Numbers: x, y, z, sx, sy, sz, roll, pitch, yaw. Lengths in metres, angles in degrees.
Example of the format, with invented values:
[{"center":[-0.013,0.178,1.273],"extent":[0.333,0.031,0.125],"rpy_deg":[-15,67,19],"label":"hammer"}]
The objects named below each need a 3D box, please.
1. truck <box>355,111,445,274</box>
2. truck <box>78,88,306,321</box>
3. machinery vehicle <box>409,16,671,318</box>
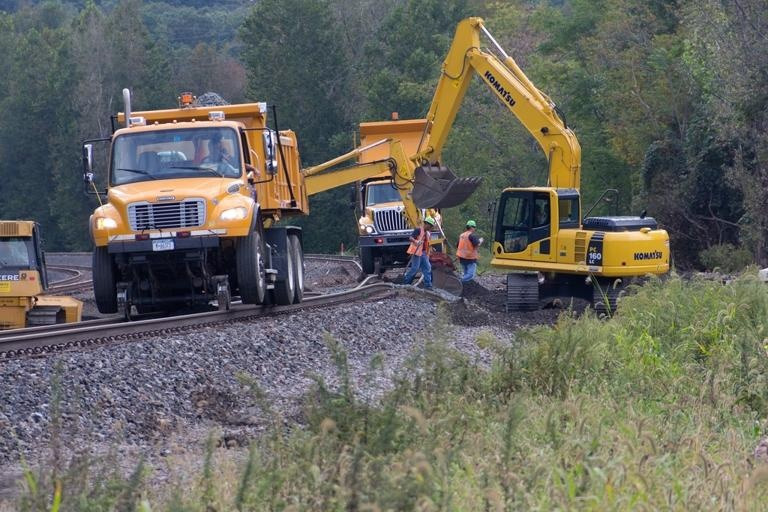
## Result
[{"center":[1.035,-1.583,31.698],"extent":[1.995,6.691,4.233],"rpy_deg":[-2,88,-2],"label":"truck"},{"center":[-4.349,-0.699,24.880],"extent":[3.141,6.951,4.283],"rpy_deg":[-3,81,2],"label":"truck"},{"center":[3.998,-2.543,26.943],"extent":[6.849,3.018,7.865],"rpy_deg":[6,102,27],"label":"machinery vehicle"}]
